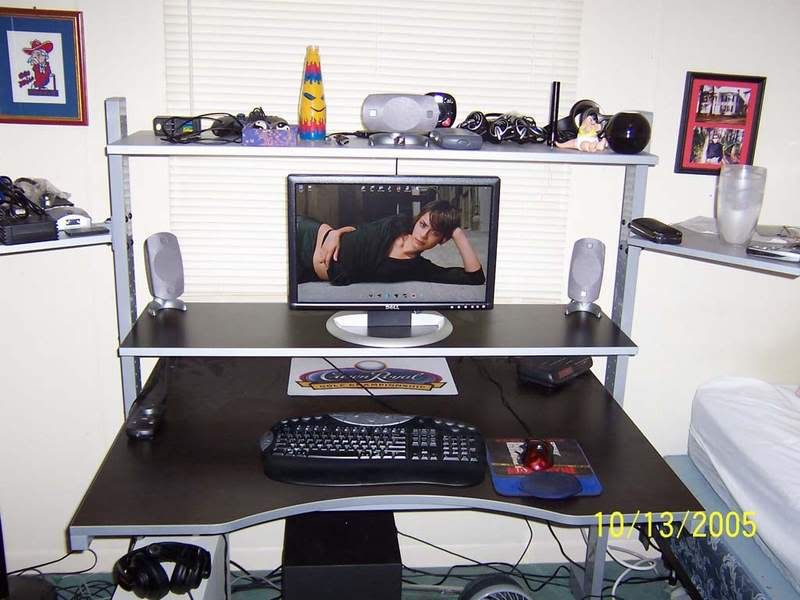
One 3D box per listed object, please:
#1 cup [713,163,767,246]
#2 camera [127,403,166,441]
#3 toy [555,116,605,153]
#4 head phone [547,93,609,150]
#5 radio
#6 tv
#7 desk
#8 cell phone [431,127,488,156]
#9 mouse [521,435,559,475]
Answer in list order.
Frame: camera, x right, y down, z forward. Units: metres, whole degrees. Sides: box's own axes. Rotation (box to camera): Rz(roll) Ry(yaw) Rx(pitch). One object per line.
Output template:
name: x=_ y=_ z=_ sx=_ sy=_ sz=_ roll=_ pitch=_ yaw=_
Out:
cup: x=1.017 y=-0.290 z=1.991 sx=0.122 sy=0.234 sz=0.105 roll=11 pitch=20 yaw=26
camera: x=-0.751 y=0.358 z=1.951 sx=0.066 sy=0.034 sz=0.107 roll=1 pitch=29 yaw=-11
toy: x=0.572 y=-0.502 z=2.040 sx=0.129 sy=0.061 sz=0.135 roll=-2 pitch=12 yaw=-2
head phone: x=0.579 y=-0.566 z=2.109 sx=0.163 sy=0.075 sz=0.205 roll=9 pitch=36 yaw=1
radio: x=0.002 y=-0.571 z=2.047 sx=0.240 sy=0.160 sz=0.158 roll=2 pitch=25 yaw=0
tv: x=-0.021 y=-0.135 z=2.061 sx=0.674 sy=0.511 sz=0.338 roll=1 pitch=6 yaw=3
desk: x=-0.059 y=0.444 z=2.010 sx=1.558 sy=0.249 sz=0.756 roll=1 pitch=18 yaw=-4
cell phone: x=0.164 y=-0.481 z=1.984 sx=0.158 sy=0.056 sz=0.092 roll=5 pitch=18 yaw=10
mouse: x=0.387 y=0.429 z=1.840 sx=0.068 sy=0.047 sz=0.090 roll=0 pitch=14 yaw=4
